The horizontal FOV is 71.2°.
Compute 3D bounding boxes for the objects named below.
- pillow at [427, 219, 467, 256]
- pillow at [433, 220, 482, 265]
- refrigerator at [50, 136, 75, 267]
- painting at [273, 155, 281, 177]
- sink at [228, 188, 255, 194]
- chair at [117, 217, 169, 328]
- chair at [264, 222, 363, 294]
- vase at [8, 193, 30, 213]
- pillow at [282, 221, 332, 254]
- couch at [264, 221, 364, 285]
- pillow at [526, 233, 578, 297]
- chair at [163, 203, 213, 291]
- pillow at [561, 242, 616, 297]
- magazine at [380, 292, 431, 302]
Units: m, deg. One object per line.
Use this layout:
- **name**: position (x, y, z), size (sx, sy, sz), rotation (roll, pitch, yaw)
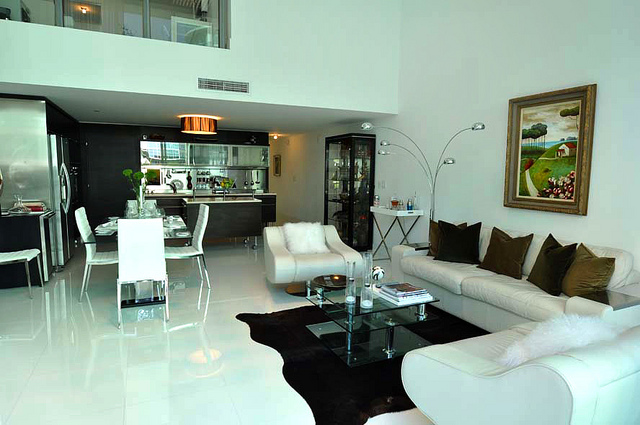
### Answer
- **pillow**: position (1.780, 0.370, 6.560), size (0.509, 0.475, 0.153), rotation (1, -8, 42)
- **pillow**: position (1.877, 0.434, 6.162), size (0.523, 0.508, 0.199), rotation (5, -26, 23)
- **refrigerator**: position (-4.280, -0.195, 7.507), size (0.273, 2.143, 0.909), rotation (-7, 12, -27)
- **painting**: position (-1.347, -1.499, 14.137), size (0.055, 0.709, 0.716), rotation (-2, 5, -21)
- **sink**: position (-1.955, -0.550, 11.106), size (0.628, 0.150, 0.203), rotation (-3, 10, -10)
- **chair**: position (-2.166, 0.784, 5.861), size (0.719, 1.277, 0.776), rotation (-4, -9, 1)
- **chair**: position (-0.167, 0.650, 6.623), size (1.348, 0.888, 1.102), rotation (-3, 9, -27)
- **vase**: position (-4.502, -0.160, 6.745), size (0.299, 0.325, 0.301), rotation (-3, 6, -42)
- **pillow**: position (-0.191, 0.380, 6.671), size (0.712, 0.426, 0.406), rotation (-3, 10, -8)
- **couch**: position (-0.174, 0.593, 6.608), size (1.349, 0.883, 1.025), rotation (-2, 9, -27)
- **pillow**: position (2.852, 0.589, 5.174), size (0.348, 0.586, 0.608), rotation (15, 2, -5)
- **chair**: position (-2.080, 0.492, 6.752), size (0.775, 1.147, 0.680), rotation (-5, 9, -30)
- **pillow**: position (2.917, 0.650, 4.945), size (0.376, 0.510, 0.353), rotation (-5, 11, -22)
- **magazine**: position (0.943, 0.937, 4.960), size (0.551, 0.047, 0.175), rotation (0, 9, 8)
